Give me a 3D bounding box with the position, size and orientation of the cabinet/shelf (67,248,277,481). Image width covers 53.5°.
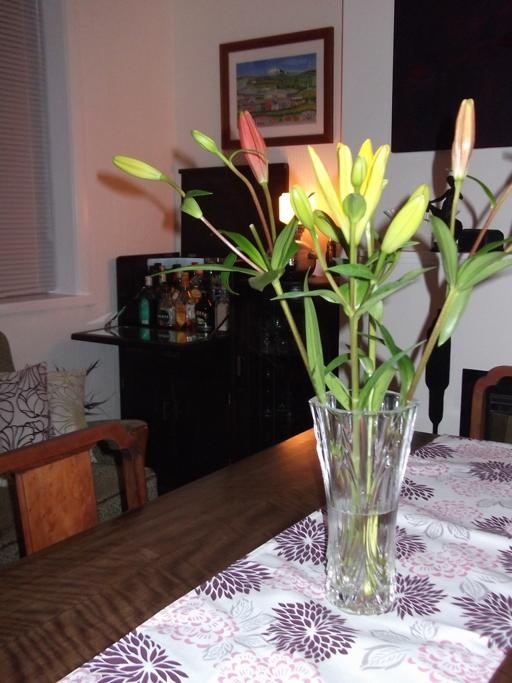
[{"bbox_3d":[-0.717,0.103,3.301,1.129,1.647,1.132,3,4,35],"label":"cabinet/shelf"}]

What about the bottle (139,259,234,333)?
[{"bbox_3d":[-0.346,-0.195,2.537,0.421,0.364,0.135,2,4,24],"label":"bottle"}]

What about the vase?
[{"bbox_3d":[0.107,0.171,0.502,0.098,0.226,0.081,0,4,17],"label":"vase"}]
